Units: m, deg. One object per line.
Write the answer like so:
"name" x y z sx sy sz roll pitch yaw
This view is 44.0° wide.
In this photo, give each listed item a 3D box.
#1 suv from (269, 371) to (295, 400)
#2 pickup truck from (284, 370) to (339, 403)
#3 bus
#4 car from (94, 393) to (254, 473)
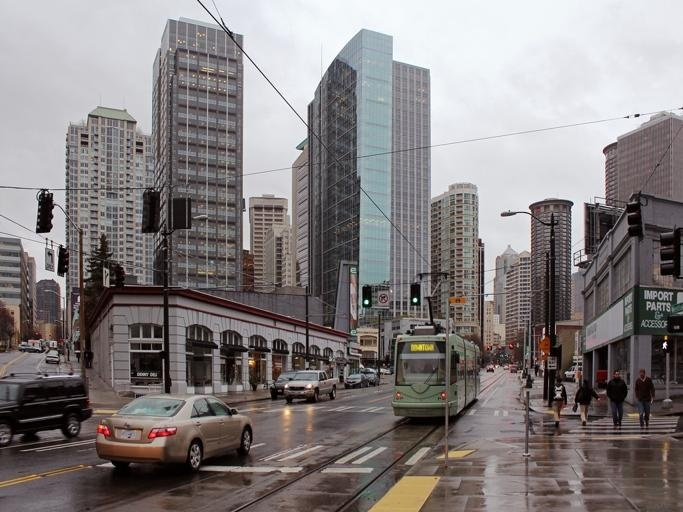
"suv" -3.974 8.469 55.564 1.121 1.276 2.257 -3 -14 12
"pickup truck" -2.038 8.049 52.993 2.460 2.243 3.428 -2 -10 13
"bus" 4.396 5.573 39.404 1.994 2.679 7.608 -2 -8 13
"car" -4.944 5.411 26.043 4.525 2.309 1.563 12 -17 -40
